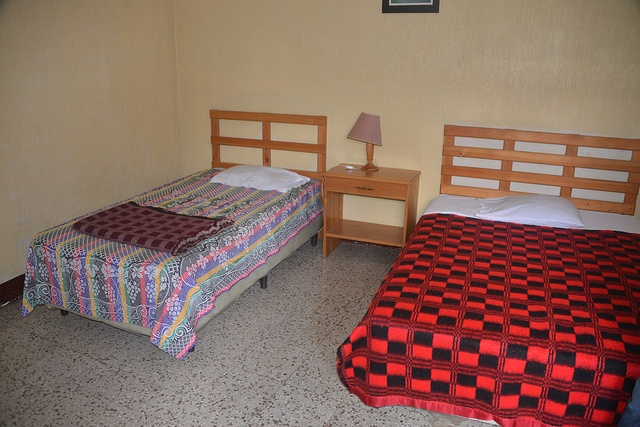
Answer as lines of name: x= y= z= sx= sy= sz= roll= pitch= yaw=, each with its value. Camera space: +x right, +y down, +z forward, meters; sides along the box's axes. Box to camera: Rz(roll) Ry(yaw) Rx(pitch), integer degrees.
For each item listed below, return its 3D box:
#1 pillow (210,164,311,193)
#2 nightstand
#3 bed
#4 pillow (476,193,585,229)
pillow: x=-0.691 y=-0.402 z=4.992 sx=0.779 sy=0.127 sz=0.442 roll=6 pitch=20 yaw=16
nightstand: x=0.593 y=-0.045 z=4.894 sx=1.084 sy=0.854 sz=0.607 roll=5 pitch=19 yaw=19
bed: x=-1.149 y=-0.126 z=4.690 sx=2.005 sy=1.492 sz=3.104 roll=9 pitch=19 yaw=25
pillow: x=2.009 y=-0.025 z=4.208 sx=0.627 sy=0.113 sz=0.483 roll=6 pitch=19 yaw=22
